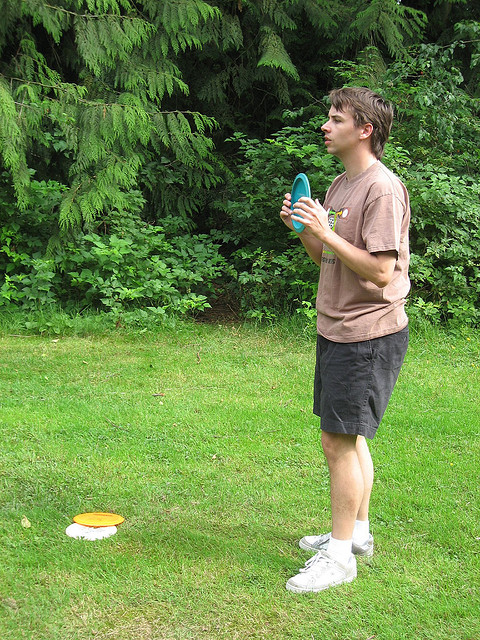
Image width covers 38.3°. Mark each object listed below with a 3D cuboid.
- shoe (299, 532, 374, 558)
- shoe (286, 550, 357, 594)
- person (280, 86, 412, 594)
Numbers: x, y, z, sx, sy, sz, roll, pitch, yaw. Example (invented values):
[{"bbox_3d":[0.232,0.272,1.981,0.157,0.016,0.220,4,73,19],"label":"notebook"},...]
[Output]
[{"bbox_3d":[0.412,0.983,3.110,0.358,0.123,0.114,3,7,3],"label":"shoe"},{"bbox_3d":[0.334,1.024,2.832,0.354,0.120,0.112,-4,-3,-24],"label":"shoe"},{"bbox_3d":[0.432,0.079,2.843,0.505,1.564,0.560,4,2,3],"label":"person"}]
